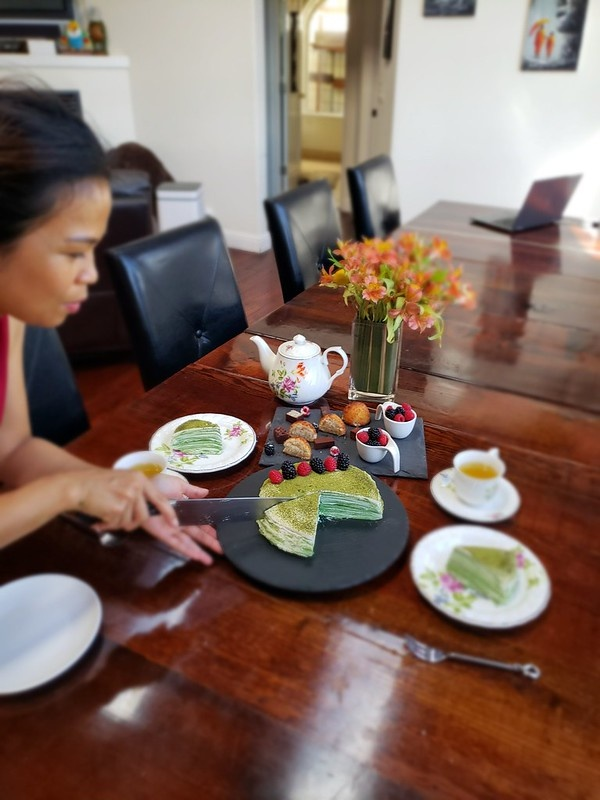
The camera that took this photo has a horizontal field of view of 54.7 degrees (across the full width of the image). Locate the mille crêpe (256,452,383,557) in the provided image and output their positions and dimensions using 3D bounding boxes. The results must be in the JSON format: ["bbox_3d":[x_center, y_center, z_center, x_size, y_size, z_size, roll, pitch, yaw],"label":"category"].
[{"bbox_3d":[0.024,0.147,0.838,0.178,0.040,0.187,10,31,22],"label":"mille crêpe"}]

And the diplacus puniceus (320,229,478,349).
[{"bbox_3d":[0.138,-0.150,0.888,0.216,0.138,0.206,-1,18,-15],"label":"diplacus puniceus"}]

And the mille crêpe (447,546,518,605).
[{"bbox_3d":[0.225,0.209,0.740,0.093,0.035,0.067,22,25,22],"label":"mille crêpe"}]

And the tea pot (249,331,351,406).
[{"bbox_3d":[-0.005,-0.066,1.174,0.203,0.134,0.125,11,29,24],"label":"tea pot"}]
